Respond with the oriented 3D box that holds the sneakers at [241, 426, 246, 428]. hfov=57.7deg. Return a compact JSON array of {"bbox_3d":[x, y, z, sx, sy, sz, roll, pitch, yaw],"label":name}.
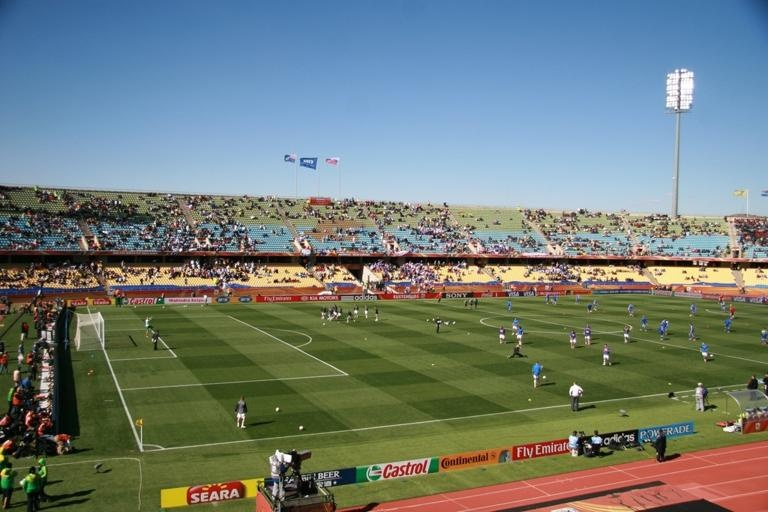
[{"bbox_3d":[-9.753,11.753,48.106,0.373,0.100,0.418,-1,10,-15],"label":"sneakers"}]
